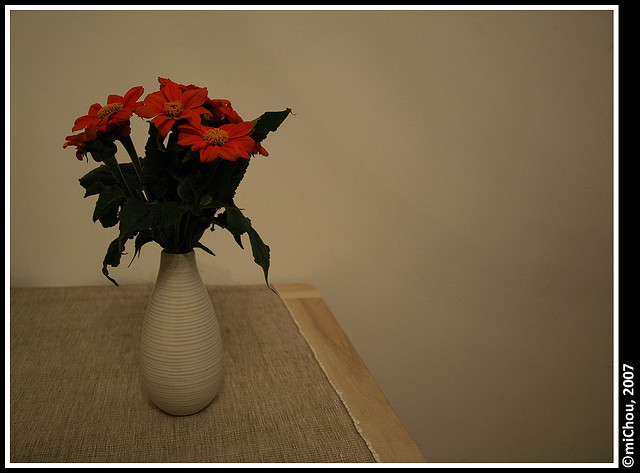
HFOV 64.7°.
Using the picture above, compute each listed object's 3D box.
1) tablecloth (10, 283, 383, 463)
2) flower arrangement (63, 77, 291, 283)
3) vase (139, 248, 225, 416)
[{"bbox_3d":[-0.324,0.355,1.134,0.484,0.127,0.537,3,29,-10],"label":"tablecloth"},{"bbox_3d":[-0.332,-0.124,1.153,0.411,0.359,0.436,-1,15,-14],"label":"flower arrangement"},{"bbox_3d":[-0.295,0.206,1.106,0.198,0.334,0.204,0,11,18],"label":"vase"}]
